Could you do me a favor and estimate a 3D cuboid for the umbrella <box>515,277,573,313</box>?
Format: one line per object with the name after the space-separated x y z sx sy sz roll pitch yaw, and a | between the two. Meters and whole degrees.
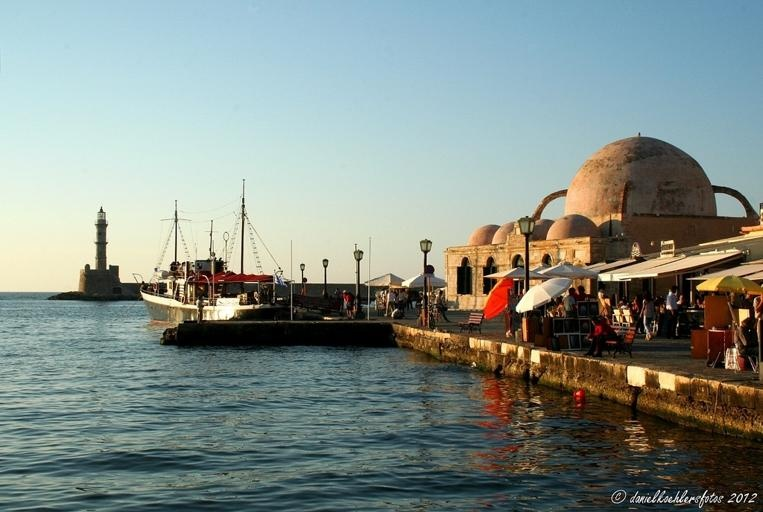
4.930 1.197 31.558 1.590 0.948 1.460 0 4 6 | umbrella

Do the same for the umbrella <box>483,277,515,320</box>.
4.120 1.515 36.644 0.990 1.457 1.283 0 5 5 | umbrella

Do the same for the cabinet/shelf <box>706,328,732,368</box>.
8.963 2.425 27.367 0.631 0.895 0.813 1 5 17 | cabinet/shelf
